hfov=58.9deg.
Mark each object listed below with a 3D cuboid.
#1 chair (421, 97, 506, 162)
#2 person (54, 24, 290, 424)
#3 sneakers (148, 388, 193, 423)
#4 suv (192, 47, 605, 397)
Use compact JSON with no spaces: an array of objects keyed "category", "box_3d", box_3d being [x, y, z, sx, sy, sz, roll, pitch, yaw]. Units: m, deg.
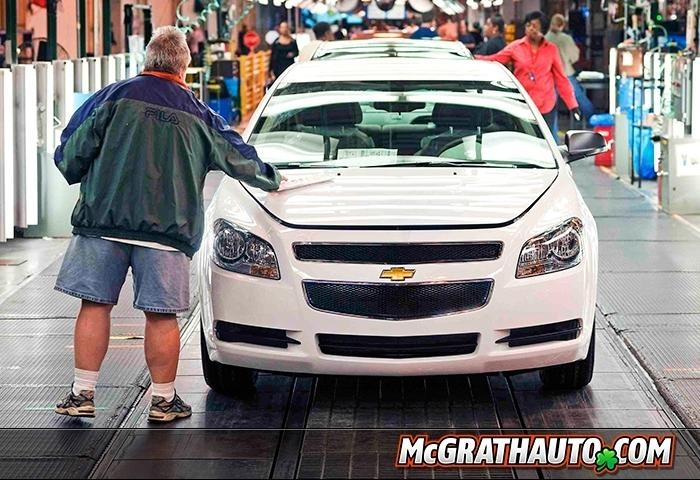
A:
[{"category":"chair","box_3d":[0.985,-0.981,4.938,0.433,0.555,0.544,15,6,9]},{"category":"person","box_3d":[-1.158,-0.068,3.633,1.164,2.247,0.465,-1,12,0]},{"category":"sneakers","box_3d":[-1.063,0.994,3.772,0.112,0.153,0.295,2,3,28]},{"category":"suv","box_3d":[0.334,-0.356,4.767,1.799,1.380,2.979,0,8,2]}]
